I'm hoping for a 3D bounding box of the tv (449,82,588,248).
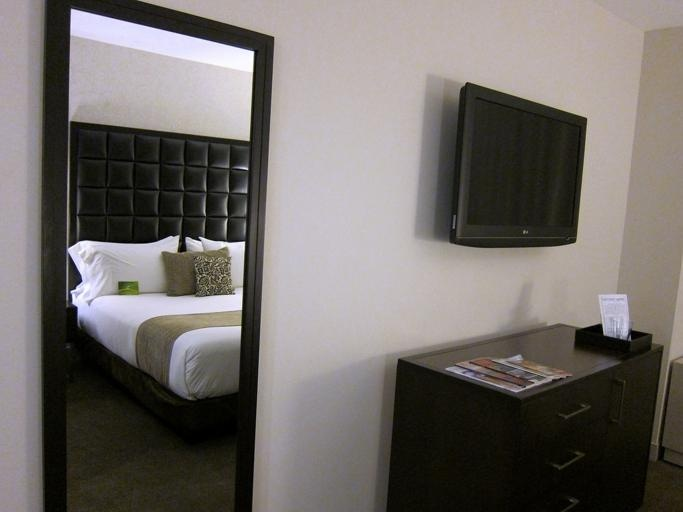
[{"bbox_3d":[0.896,-0.404,2.770,0.970,0.725,0.109,-1,6,-37],"label":"tv"}]
